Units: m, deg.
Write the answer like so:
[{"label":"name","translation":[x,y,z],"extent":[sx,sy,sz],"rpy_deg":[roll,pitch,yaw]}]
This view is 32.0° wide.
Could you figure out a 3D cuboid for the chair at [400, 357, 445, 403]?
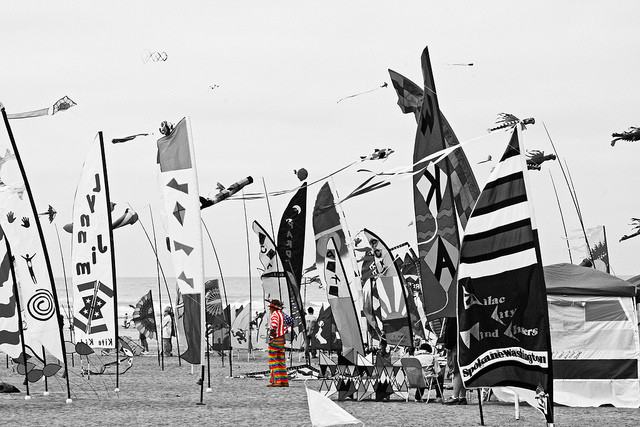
[{"label":"chair","translation":[2.539,4.096,27.515],"extent":[0.737,1.164,1.126],"rpy_deg":[-5,-6,41]}]

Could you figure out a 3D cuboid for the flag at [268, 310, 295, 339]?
[{"label":"flag","translation":[-1.077,2.873,29.528],"extent":[0.411,0.717,1.229],"rpy_deg":[-2,-3,24]}]

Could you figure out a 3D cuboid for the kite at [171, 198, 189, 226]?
[{"label":"kite","translation":[-3.222,-0.032,25.771],"extent":[0.375,0.723,0.046],"rpy_deg":[-23,-6,13]}]

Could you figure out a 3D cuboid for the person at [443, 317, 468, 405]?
[{"label":"person","translation":[3.216,3.513,26.951],"extent":[0.542,2.143,1.546],"rpy_deg":[-5,-13,7]}]

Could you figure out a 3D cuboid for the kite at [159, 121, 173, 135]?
[{"label":"kite","translation":[-3.598,-2.014,26.169],"extent":[0.269,0.297,0.161],"rpy_deg":[1,-13,-17]}]

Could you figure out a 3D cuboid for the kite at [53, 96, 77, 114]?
[{"label":"kite","translation":[-6.321,-2.698,27.471],"extent":[0.376,0.410,0.390],"rpy_deg":[2,-14,-22]}]
